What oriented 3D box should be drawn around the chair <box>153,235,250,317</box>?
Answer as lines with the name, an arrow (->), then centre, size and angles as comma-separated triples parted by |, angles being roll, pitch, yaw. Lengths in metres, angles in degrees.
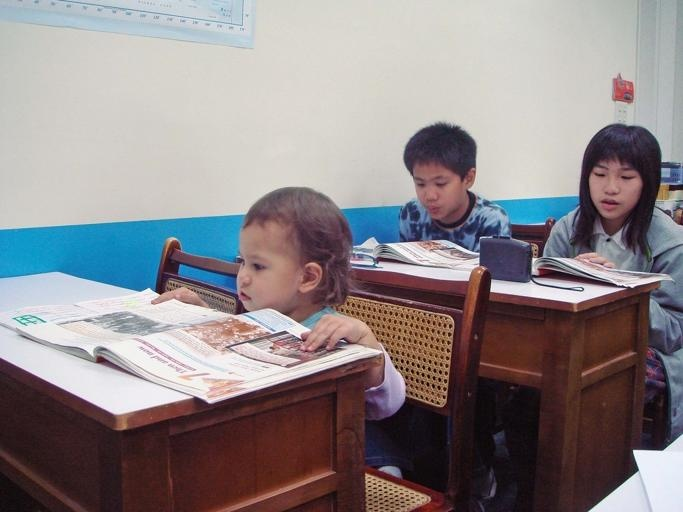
chair -> -0.384, 0.045, 1.405 | 0.151, 0.276, 0.167 | 14, -6, -18

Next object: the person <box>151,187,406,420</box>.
person -> -0.104, 0.072, 1.057 | 0.280, 0.389, 0.688 | -3, 2, -35

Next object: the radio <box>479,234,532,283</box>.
radio -> 0.450, 0.013, 1.449 | 0.111, 0.095, 0.033 | 12, 19, 42
